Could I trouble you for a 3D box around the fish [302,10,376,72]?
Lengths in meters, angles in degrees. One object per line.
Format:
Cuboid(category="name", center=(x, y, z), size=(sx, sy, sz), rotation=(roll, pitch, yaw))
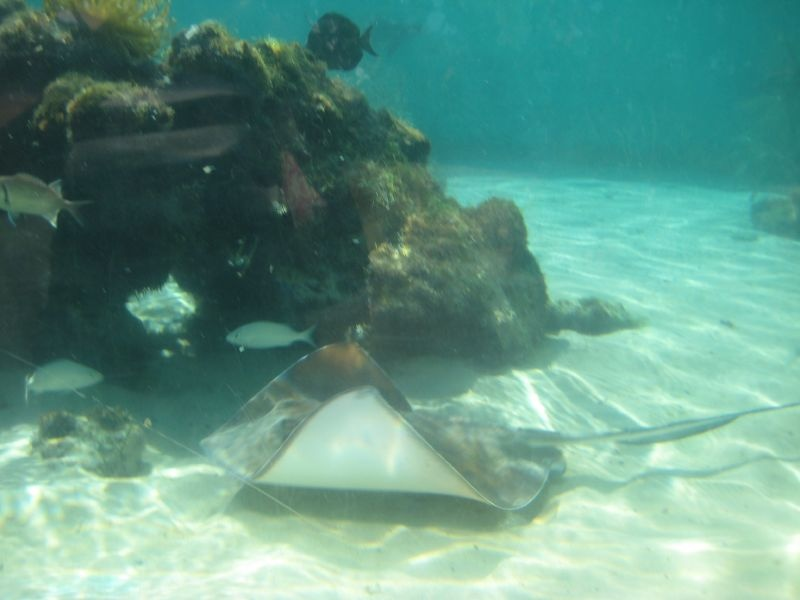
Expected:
Cuboid(category="fish", center=(-0.623, -2.597, 9.268), size=(0.902, 0.589, 0.237), rotation=(-17, 30, -33))
